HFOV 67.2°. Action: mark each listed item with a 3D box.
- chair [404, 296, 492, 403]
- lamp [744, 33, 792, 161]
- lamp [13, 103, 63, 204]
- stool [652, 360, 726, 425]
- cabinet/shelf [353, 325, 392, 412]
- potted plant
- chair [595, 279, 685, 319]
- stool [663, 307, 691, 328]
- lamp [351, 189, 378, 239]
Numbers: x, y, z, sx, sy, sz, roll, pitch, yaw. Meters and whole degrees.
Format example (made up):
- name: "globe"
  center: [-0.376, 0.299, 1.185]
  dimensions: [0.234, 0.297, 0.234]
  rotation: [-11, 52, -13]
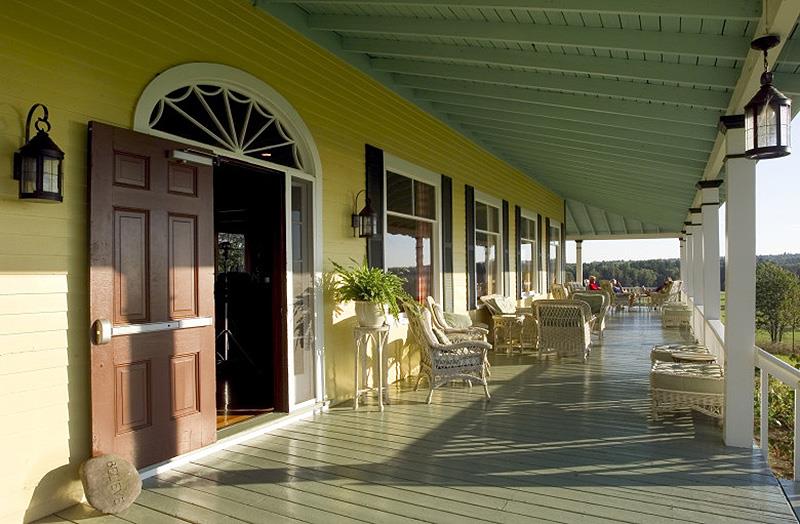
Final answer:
- name: "chair"
  center: [0.608, 1.155, 7.734]
  dimensions: [1.090, 1.235, 1.073]
  rotation: [0, 9, 0]
- name: "lamp"
  center: [2.993, -1.341, 4.876]
  dimensions: [0.337, 0.994, 0.311]
  rotation: [4, 10, 23]
- name: "lamp"
  center: [-2.908, -0.894, 4.882]
  dimensions: [0.293, 0.780, 0.369]
  rotation: [5, 11, 28]
- name: "stool"
  center: [3.104, 1.340, 6.547]
  dimensions: [0.547, 0.266, 0.794]
  rotation: [-3, 2, 22]
- name: "cabinet/shelf"
  center: [-0.381, 1.258, 7.404]
  dimensions: [0.430, 1.107, 0.953]
  rotation: [-1, 10, -5]
- name: "potted plant"
  center: [-0.377, 0.325, 7.447]
  dimensions: [0.779, 0.738, 0.854]
  rotation: [4, 10, 25]
- name: "chair"
  center: [7.379, 1.110, 18.583]
  dimensions: [1.779, 0.867, 1.142]
  rotation: [-1, -1, 18]
- name: "stool"
  center: [6.396, 1.244, 13.979]
  dimensions: [0.438, 0.350, 0.721]
  rotation: [-1, -1, 22]
- name: "lamp"
  center: [-0.459, -0.616, 7.729]
  dimensions: [0.279, 0.603, 0.333]
  rotation: [2, 10, 16]
